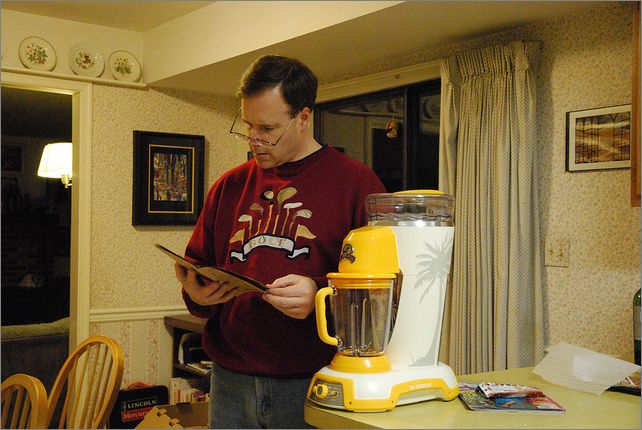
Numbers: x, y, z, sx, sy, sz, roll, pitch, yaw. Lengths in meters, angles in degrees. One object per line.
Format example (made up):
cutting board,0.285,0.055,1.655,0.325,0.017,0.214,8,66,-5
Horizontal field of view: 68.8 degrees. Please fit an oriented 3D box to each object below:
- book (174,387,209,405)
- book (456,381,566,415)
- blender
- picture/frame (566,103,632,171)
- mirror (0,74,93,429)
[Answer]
book,-1.085,1.477,3.826,0.204,0.066,0.146,4,-7,-28
book,0.592,0.573,1.487,0.299,0.054,0.173,4,3,0
blender,0.210,0.255,1.444,0.442,0.674,0.227,4,3,17
picture/frame,1.589,-0.442,2.642,0.421,0.413,0.017,-3,-10,40
mirror,-2.991,0.225,4.959,0.185,3.604,3.228,1,0,-40
